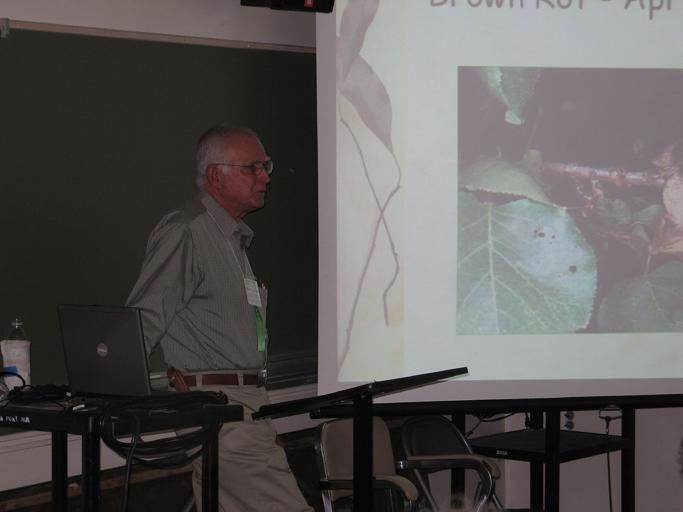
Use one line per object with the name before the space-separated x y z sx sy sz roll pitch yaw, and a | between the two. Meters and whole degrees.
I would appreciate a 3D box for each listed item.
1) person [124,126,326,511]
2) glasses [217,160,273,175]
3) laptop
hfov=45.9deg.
person | -0.520 0.244 3.412 0.728 1.649 0.419 0 -5 -17
glasses | -0.401 -0.387 3.532 0.113 0.036 0.113 -3 0 32
laptop | -0.802 0.336 3.093 0.434 0.463 0.333 -1 2 27
